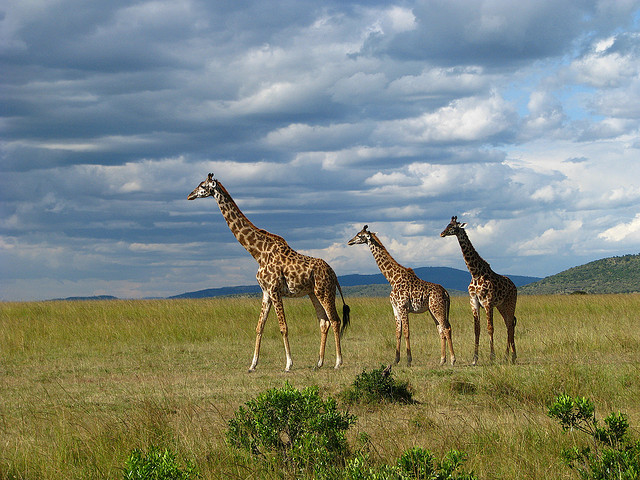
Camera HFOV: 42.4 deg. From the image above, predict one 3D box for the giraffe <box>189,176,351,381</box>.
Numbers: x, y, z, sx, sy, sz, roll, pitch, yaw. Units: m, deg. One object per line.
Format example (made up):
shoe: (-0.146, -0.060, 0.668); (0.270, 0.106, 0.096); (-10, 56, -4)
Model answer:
giraffe: (-1.199, 1.000, 24.939); (4.007, 5.728, 6.637); (-2, -3, 2)

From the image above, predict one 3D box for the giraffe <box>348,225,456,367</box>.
giraffe: (2.724, 1.840, 24.814); (1.787, 3.660, 3.022); (-1, -3, -11)
